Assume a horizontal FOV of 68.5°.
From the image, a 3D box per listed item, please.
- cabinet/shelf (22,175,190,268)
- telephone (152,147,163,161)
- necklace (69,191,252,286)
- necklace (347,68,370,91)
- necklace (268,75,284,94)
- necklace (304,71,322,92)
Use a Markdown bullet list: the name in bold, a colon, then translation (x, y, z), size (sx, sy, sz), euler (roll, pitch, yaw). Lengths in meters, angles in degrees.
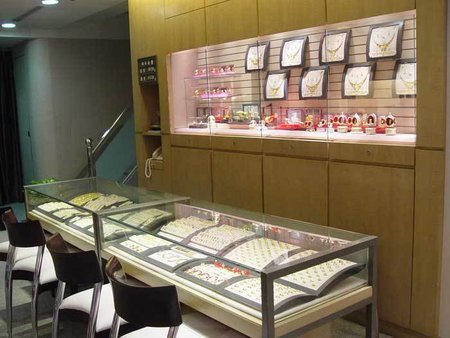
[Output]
- **cabinet/shelf**: translation (-1.140, 0.291, 2.907), size (1.322, 0.325, 0.599), euler (8, 12, 44)
- **telephone**: translation (-1.009, -0.228, 4.913), size (0.117, 0.182, 0.301), euler (-6, 10, -44)
- **necklace**: translation (-0.195, 0.415, 2.103), size (0.384, 0.246, 1.087), euler (-7, 9, -43)
- **necklace**: translation (1.166, -0.803, 2.935), size (0.145, 0.186, 0.041), euler (10, 7, 31)
- **necklace**: translation (0.531, -0.893, 3.441), size (0.155, 0.185, 0.040), euler (-1, 3, 39)
- **necklace**: translation (0.872, -0.878, 3.286), size (0.134, 0.186, 0.041), euler (15, -1, 32)
